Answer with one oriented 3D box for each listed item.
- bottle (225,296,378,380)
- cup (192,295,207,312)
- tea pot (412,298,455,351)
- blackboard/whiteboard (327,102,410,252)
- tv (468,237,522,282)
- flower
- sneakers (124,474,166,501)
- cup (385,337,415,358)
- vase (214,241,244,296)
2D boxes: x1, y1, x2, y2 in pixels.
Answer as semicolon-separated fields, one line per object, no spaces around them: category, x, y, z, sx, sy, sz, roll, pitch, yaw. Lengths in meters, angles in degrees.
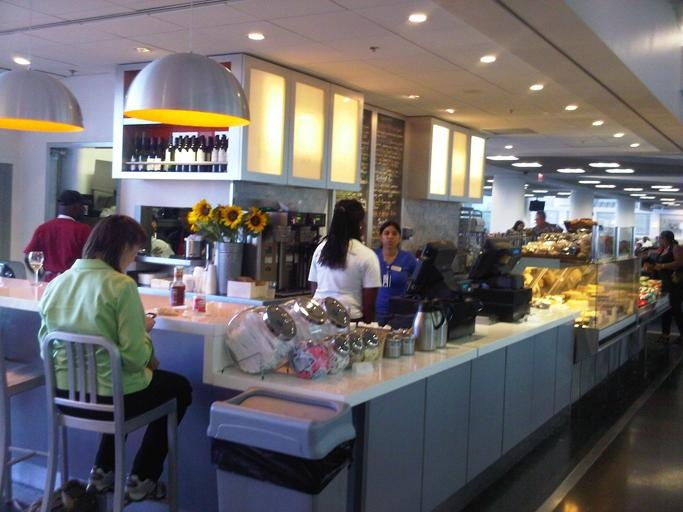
bottle;-0.244;0.354;2.799;0.548;0.249;0.443;0;2;31
cup;-0.807;0.268;3.107;0.070;0.088;0.102;3;6;-16
tea pot;0.612;0.420;3.216;0.298;0.315;0.182;1;2;36
blackboard/whiteboard;0.287;-0.979;6.214;0.153;2.138;1.841;2;2;27
tv;1.211;0.043;4.375;0.541;0.383;0.304;-2;4;-41
flower;-1.009;-0.295;4.773;0.452;0.279;0.481;0;7;0
sneakers;-0.968;1.160;2.795;0.094;0.114;0.247;1;-3;36
cup;0.328;0.513;3.073;0.158;0.076;0.088;-2;5;-16
vase;-1.010;0.102;4.855;0.248;0.466;0.217;3;6;-14
